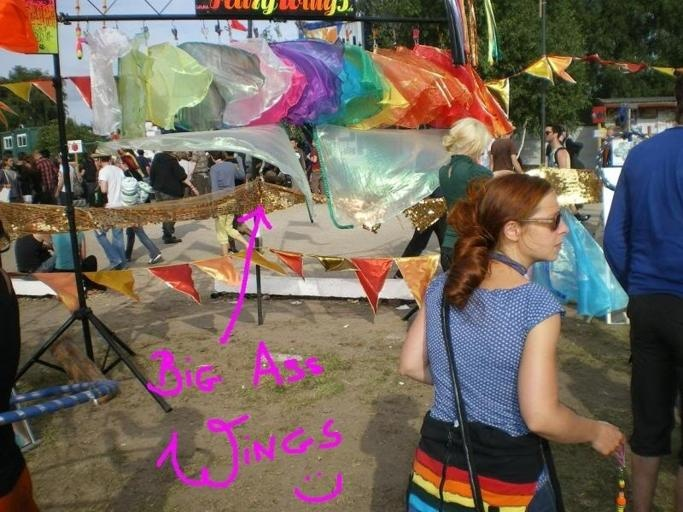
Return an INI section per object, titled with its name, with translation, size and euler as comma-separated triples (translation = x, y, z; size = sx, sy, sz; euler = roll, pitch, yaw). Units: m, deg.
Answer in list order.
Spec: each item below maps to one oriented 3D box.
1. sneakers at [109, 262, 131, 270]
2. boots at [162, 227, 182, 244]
[sneakers]
translation = -3.477, 0.166, 9.586
size = 0.250, 0.179, 0.084
euler = 4, -7, -26
[boots]
translation = -3.230, -0.368, 11.917
size = 0.491, 0.358, 0.193
euler = -2, 7, -19
